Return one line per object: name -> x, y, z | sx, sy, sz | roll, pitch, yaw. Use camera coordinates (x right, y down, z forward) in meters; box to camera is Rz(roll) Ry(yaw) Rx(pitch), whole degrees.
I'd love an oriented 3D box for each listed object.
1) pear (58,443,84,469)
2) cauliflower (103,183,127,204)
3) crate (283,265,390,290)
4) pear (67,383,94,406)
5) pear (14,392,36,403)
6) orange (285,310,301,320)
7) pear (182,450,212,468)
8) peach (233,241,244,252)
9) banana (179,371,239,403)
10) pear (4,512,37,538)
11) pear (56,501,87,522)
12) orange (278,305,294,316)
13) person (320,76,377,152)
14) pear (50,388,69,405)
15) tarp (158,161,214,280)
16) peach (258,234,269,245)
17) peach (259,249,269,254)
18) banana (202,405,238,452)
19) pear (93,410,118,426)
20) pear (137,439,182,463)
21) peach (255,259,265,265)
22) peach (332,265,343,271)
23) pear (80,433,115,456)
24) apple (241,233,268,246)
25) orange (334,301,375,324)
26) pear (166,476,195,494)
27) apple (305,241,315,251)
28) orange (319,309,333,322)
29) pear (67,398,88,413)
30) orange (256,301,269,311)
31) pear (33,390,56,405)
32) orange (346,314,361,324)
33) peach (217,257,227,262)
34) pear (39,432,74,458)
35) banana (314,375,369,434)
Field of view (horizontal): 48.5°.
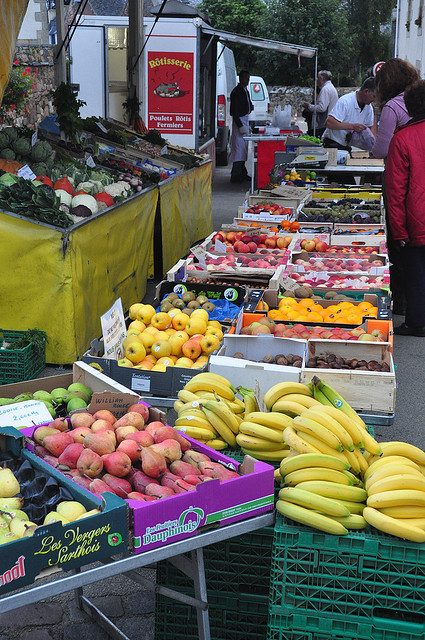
pear -> -0.422, 0.407, 1.409 | 0.052, 0.052, 0.071 | 17, 50, 10
cauliflower -> -1.257, -1.707, 6.100 | 0.354, 0.251, 0.432 | -6, 28, -10
crate -> 1.290, -0.444, 4.874 | 1.105, 0.189, 0.630 | 1, 12, 8
pear -> -0.612, 0.328, 2.199 | 0.146, 0.109, 0.108 | 12, -3, -18
pear -> -0.811, 0.338, 2.051 | 0.084, 0.033, 0.061 | -17, 18, -34
orange -> 0.705, -0.048, 4.088 | 0.087, 0.068, 0.066 | -6, 7, -29
pear -> -0.054, 0.435, 1.501 | 0.070, 0.038, 0.036 | 22, 7, 7
peach -> 0.324, -0.898, 5.732 | 0.109, 0.133, 0.110 | 2, -30, 5
banana -> -0.009, 0.307, 2.146 | 0.234, 0.116, 0.063 | 16, -9, 21
pear -> -0.442, 0.491, 1.126 | 0.053, 0.074, 0.049 | -17, 37, 29
pear -> -0.347, 0.465, 1.145 | 0.056, 0.047, 0.046 | 11, -31, -8
orange -> 0.647, -0.086, 4.180 | 0.085, 0.103, 0.085 | -4, 7, 1
person -> 2.785, -4.236, 9.724 | 0.997, 1.196, 1.827 | 3, 12, 15
pear -> -0.703, 0.353, 2.183 | 0.060, 0.060, 0.069 | 17, -11, -35
tarp -> -0.460, -1.973, 8.459 | 0.127, 1.412, 3.321 | 5, 23, 12
peach -> 0.665, -1.053, 6.136 | 0.105, 0.114, 0.221 | 1, 12, 7
peach -> 0.626, -0.815, 5.626 | 0.120, 0.047, 0.091 | -3, 12, -13
banana -> 0.028, 0.421, 1.802 | 0.042, 0.180, 0.063 | -35, 8, 13
pear -> -0.383, 0.350, 1.695 | 0.045, 0.035, 0.059 | 10, 3, -15
pear -> -0.158, 0.401, 1.471 | 0.102, 0.061, 0.059 | 8, 7, 2
peach -> 0.523, -0.642, 5.251 | 0.055, 0.041, 0.073 | -5, 6, 36
peach -> 1.395, -0.574, 5.253 | 0.067, 0.057, 0.056 | -5, 11, -3
pear -> -0.346, 0.378, 1.429 | 0.088, 0.046, 0.045 | 30, -27, 11
apple -> 0.550, -1.015, 5.958 | 0.334, 0.127, 0.131 | -6, 47, 28
orange -> 1.273, -0.058, 4.175 | 0.235, 0.085, 0.240 | 10, 48, 38
pear -> -0.086, 0.455, 1.286 | 0.021, 0.023, 0.068 | -18, 17, -33
apple -> 1.215, -0.922, 5.927 | 0.103, 0.100, 0.102 | -39, 30, -12
orange -> 1.013, -0.042, 4.198 | 0.081, 0.094, 0.082 | 0, 2, 2
pear -> -0.583, 0.377, 2.055 | 0.061, 0.062, 0.074 | -11, -22, 38
orange -> 0.459, -0.125, 4.347 | 0.088, 0.106, 0.092 | -1, 0, -5
pear -> -0.761, 0.349, 2.136 | 0.077, 0.057, 0.056 | 19, 2, -2
orange -> 1.221, -0.013, 4.100 | 0.078, 0.045, 0.079 | 1, 16, -1
peach -> 0.098, -0.678, 5.299 | 0.061, 0.074, 0.062 | -8, -3, 33
pear -> -0.491, 0.399, 1.481 | 0.085, 0.065, 0.062 | 14, -30, -15
banana -> 0.464, 0.315, 1.721 | 0.054, 0.089, 0.258 | -31, 61, -34
